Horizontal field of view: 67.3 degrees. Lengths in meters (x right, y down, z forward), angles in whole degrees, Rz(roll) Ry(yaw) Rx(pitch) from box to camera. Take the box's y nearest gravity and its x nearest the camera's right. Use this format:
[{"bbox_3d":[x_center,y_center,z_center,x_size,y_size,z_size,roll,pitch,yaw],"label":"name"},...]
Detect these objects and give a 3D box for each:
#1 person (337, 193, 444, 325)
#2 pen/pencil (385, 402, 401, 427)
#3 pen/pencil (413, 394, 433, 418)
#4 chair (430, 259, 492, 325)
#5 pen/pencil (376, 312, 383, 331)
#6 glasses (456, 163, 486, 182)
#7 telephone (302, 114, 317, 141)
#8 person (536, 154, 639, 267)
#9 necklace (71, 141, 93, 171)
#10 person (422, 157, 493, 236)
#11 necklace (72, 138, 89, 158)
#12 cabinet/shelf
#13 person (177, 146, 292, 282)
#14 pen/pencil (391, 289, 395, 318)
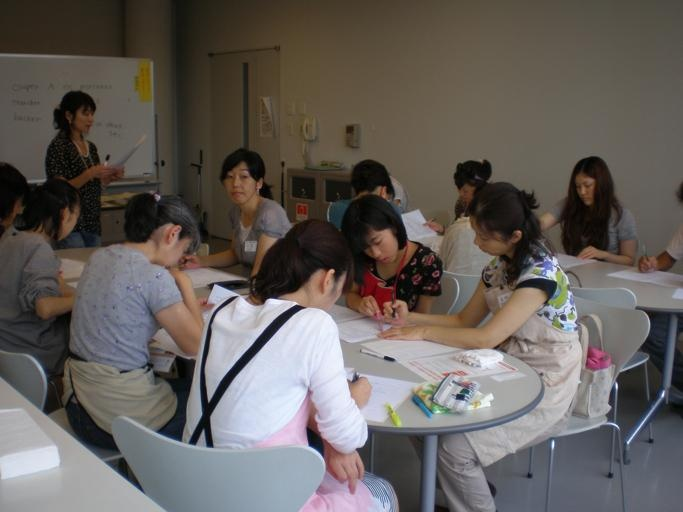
[{"bbox_3d":[0.265,0.080,2.620,0.489,0.821,0.441,-1,16,9],"label":"person"},{"bbox_3d":[0.159,0.491,1.586,0.017,0.023,0.089,-12,13,-6],"label":"pen/pencil"},{"bbox_3d":[0.257,0.481,1.652,0.019,0.023,0.113,-6,31,-31],"label":"pen/pencil"},{"bbox_3d":[0.609,0.197,2.638,0.266,0.370,0.262,-1,38,-7],"label":"chair"},{"bbox_3d":[0.170,0.304,2.322,0.018,0.014,0.077,-7,33,10],"label":"pen/pencil"},{"bbox_3d":[1.068,-0.676,4.185,0.167,0.112,0.225,4,11,36],"label":"glasses"},{"bbox_3d":[-0.414,-1.632,6.556,0.274,0.423,0.218,1,11,0],"label":"telephone"},{"bbox_3d":[1.831,-0.277,3.932,0.799,0.951,0.492,8,25,37],"label":"person"},{"bbox_3d":[-2.163,-0.812,4.218,0.124,0.260,0.057,-7,-15,-30],"label":"necklace"},{"bbox_3d":[1.062,-0.447,4.427,0.441,0.844,0.380,-35,51,-29],"label":"person"},{"bbox_3d":[-2.199,-0.888,4.287,0.054,0.142,0.098,-36,-7,41],"label":"necklace"},{"bbox_3d":[-0.231,-0.683,5.527,0.818,0.835,0.425,15,20,42],"label":"cabinet/shelf"},{"bbox_3d":[-0.624,-0.231,3.260,0.598,0.856,0.574,11,18,38],"label":"person"},{"bbox_3d":[0.242,0.228,2.430,0.011,0.113,0.015,-8,-20,10],"label":"pen/pencil"}]
